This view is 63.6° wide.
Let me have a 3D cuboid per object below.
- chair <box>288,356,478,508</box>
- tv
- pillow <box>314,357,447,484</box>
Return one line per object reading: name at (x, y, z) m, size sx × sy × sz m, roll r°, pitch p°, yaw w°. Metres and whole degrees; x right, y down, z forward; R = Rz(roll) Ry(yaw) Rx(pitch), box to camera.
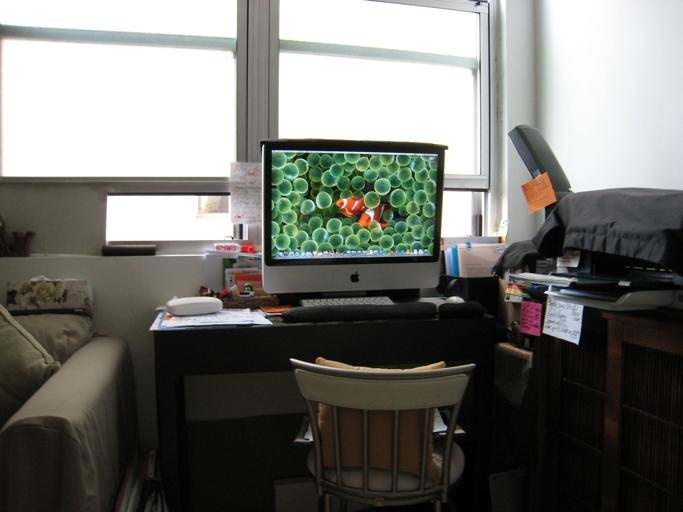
chair at (0.142, 0.571, 2.084) m, size 0.555 × 0.790 × 0.546 m, roll 1°, pitch 14°, yaw 3°
tv at (0.025, -0.190, 2.376) m, size 0.612 × 0.554 × 0.222 m, roll -1°, pitch 6°, yaw -9°
pillow at (0.122, 0.571, 1.849) m, size 0.418 × 0.408 × 0.147 m, roll 2°, pitch 8°, yaw 4°
